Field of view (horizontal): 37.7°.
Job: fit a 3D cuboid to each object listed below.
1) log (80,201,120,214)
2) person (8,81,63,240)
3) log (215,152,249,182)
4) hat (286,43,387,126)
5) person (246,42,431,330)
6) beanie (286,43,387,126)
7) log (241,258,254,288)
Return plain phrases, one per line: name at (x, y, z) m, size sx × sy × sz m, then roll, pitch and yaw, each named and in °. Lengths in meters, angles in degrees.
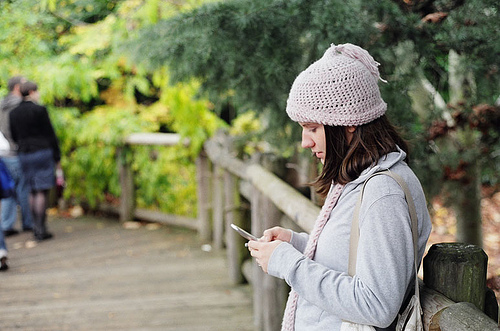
log at (-0.764, 0.207, 3.735) m, size 0.197 × 0.072 × 0.027 m, roll -3°, pitch 9°, yaw -5°
person at (-1.060, -0.021, 3.645) m, size 0.228 × 0.800 × 0.099 m, roll -1°, pitch 9°, yaw 8°
log at (-0.169, -0.024, 6.474) m, size 0.279 × 0.295 × 0.785 m, roll -2°, pitch 10°, yaw -3°
hat at (0.399, -0.388, 3.492) m, size 0.532 × 0.407 × 0.482 m, roll -4°, pitch 2°, yaw -7°
person at (0.375, 0.128, 4.202) m, size 1.028 × 2.070 × 1.505 m, roll 1°, pitch 6°, yaw 7°
beanie at (0.417, -0.433, 3.495) m, size 0.445 × 0.369 × 0.449 m, roll 9°, pitch 15°, yaw 20°
log at (-0.025, 0.994, 6.808) m, size 0.061 × 0.265 × 0.274 m, roll -1°, pitch -13°, yaw -4°
